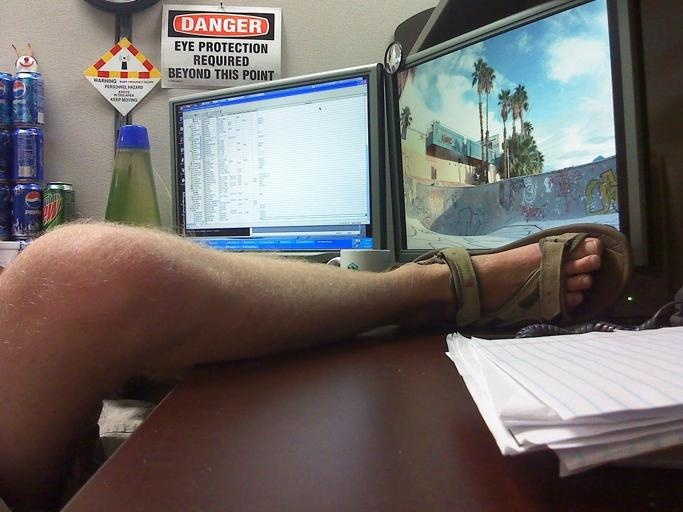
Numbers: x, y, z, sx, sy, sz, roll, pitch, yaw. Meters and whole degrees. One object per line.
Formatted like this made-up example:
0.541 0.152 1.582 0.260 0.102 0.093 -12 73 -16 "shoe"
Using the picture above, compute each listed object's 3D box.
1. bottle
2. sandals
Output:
-0.408 -0.153 0.978 0.085 0.197 0.094 1 6 17 "bottle"
0.173 0.027 0.548 0.249 0.104 0.070 -10 -1 24 "sandals"
